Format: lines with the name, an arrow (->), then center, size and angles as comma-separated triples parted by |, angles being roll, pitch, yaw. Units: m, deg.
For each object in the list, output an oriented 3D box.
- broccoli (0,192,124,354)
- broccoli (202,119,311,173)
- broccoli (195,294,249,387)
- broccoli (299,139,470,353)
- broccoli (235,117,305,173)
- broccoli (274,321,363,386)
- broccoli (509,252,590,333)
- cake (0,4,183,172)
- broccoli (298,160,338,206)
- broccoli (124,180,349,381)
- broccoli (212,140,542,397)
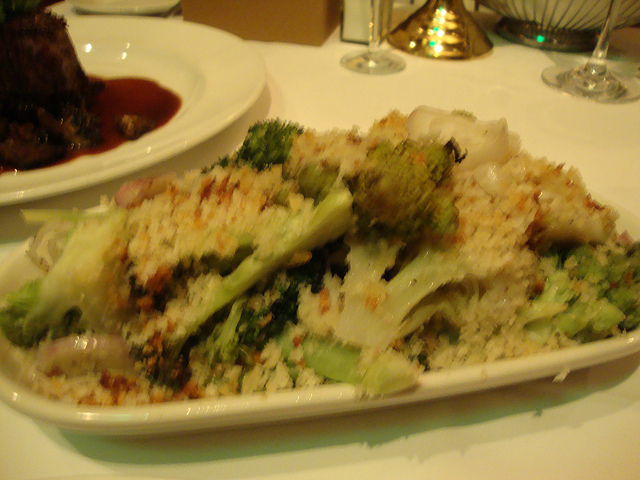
broccoli -> -0.328, 0.050, 0.747 | 0.132, 0.052, 0.210 | 41, 104, 25
broccoli -> -0.110, -0.155, 0.907 | 0.114, 0.042, 0.122 | 0, 50, 16
broccoli -> -0.133, 0.137, 0.749 | 0.056, 0.025, 0.108 | 17, 71, 22
broccoli -> 0.107, -0.003, 0.767 | 0.206, 0.079, 0.300 | 21, 86, 7
broccoli -> -0.082, -0.161, 0.815 | 0.069, 0.040, 0.098 | 3, 44, 18
broccoli -> -0.002, 0.153, 0.739 | 0.123, 0.021, 0.076 | 5, 52, 6
broccoli -> 0.334, 0.078, 0.782 | 0.106, 0.108, 0.048 | -28, 58, -13
cake -> -0.650, -0.459, 1.440 | 0.446, 0.238, 0.542 | -25, 55, -17
broccoli -> -0.001, -0.086, 0.787 | 0.049, 0.022, 0.067 | 27, 90, 19
broccoli -> -0.102, 0.042, 0.752 | 0.359, 0.132, 0.065 | -29, 55, -20
broccoli -> -0.007, -0.021, 0.768 | 0.333, 0.358, 0.145 | -15, 59, -25
